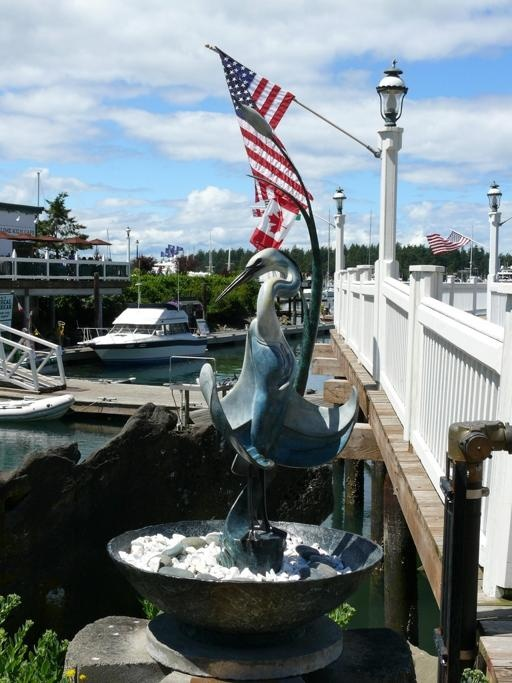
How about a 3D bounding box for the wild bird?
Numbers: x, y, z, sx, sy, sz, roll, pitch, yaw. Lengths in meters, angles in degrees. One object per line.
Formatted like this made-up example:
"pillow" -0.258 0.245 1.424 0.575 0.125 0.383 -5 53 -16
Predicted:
"wild bird" 0.211 0.136 4.467 0.894 1.591 0.486 -1 5 -12
